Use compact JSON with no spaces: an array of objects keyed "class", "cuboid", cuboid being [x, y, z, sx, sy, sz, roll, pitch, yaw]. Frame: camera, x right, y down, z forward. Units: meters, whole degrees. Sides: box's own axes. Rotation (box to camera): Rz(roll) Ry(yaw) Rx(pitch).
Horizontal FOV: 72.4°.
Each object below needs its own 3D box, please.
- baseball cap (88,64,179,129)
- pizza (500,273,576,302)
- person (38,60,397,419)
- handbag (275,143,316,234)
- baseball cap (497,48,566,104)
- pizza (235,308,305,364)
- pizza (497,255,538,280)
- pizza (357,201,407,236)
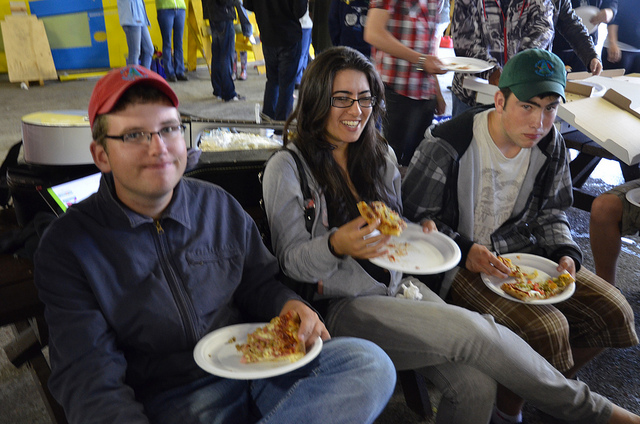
[{"class":"baseball cap","cuboid":[-0.848,-0.520,1.966,0.377,0.263,0.183,-13,27,-28]},{"class":"pizza","cuboid":[1.245,0.417,2.474,0.395,0.096,0.162,-5,25,-14]},{"class":"person","cuboid":[-0.546,0.184,1.939,1.326,1.493,0.803,3,23,3]},{"class":"handbag","cuboid":[-0.194,-0.127,2.374,0.226,0.391,0.350,-4,20,-16]},{"class":"baseball cap","cuboid":[1.256,-0.824,2.633,0.253,0.219,0.374,2,29,-3]},{"class":"pizza","cuboid":[-0.202,0.594,2.062,0.319,0.053,0.406,-5,16,11]},{"class":"pizza","cuboid":[1.161,0.340,2.564,0.212,0.038,0.127,33,40,20]},{"class":"pizza","cuboid":[0.314,0.020,2.222,0.188,0.059,0.191,45,23,19]}]
